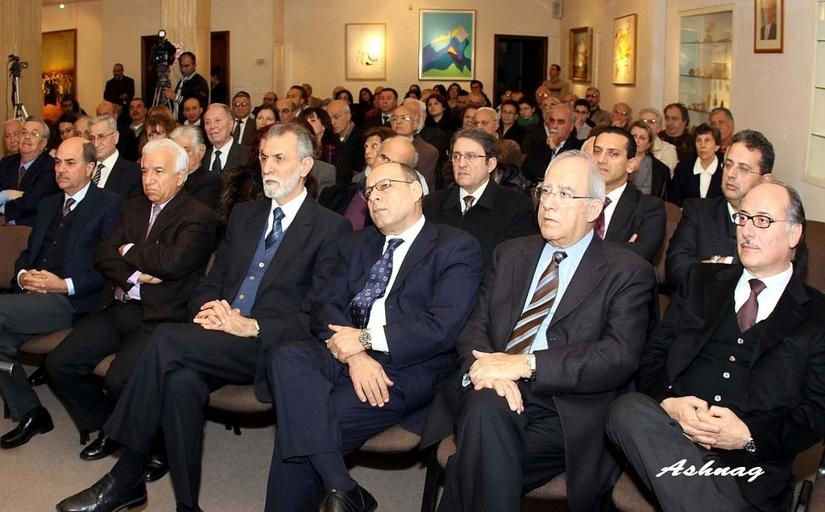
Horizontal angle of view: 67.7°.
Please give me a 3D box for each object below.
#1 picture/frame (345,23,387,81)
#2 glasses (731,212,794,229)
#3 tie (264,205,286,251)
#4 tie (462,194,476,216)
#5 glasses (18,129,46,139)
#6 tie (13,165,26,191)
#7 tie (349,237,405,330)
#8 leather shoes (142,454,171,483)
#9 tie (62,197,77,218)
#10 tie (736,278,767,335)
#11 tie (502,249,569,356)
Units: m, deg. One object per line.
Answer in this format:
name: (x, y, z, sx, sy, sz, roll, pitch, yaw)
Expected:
picture/frame: (-1.133, -4.994, 14.854, 1.265, 1.528, 0.108, 0, 7, 1)
glasses: (1.664, -0.174, 2.946, 0.229, 0.073, 0.127, 8, 13, 34)
tie: (-0.858, -0.167, 3.813, 0.119, 0.232, 0.061, 6, -20, 2)
tie: (0.383, -0.341, 4.146, 0.076, 0.126, 0.030, -1, -19, 39)
glasses: (-3.681, -1.193, 5.961, 0.128, 0.076, 0.161, 9, 1, -6)
tie: (-3.906, -0.779, 6.120, 0.185, 0.253, 0.072, 0, -1, 18)
tie: (-0.203, 0.152, 3.493, 0.201, 0.604, 0.177, 20, -9, 23)
leather shoes: (-1.541, 1.267, 3.681, 0.127, 0.139, 0.082, -3, 11, -18)
tie: (-2.477, -0.346, 4.423, 0.052, 0.149, 0.026, -13, -42, 30)
tie: (1.636, 0.241, 2.963, 0.095, 0.273, 0.033, 13, -30, 29)
tie: (0.669, 0.283, 3.173, 0.167, 0.705, 0.068, 24, -5, 32)
